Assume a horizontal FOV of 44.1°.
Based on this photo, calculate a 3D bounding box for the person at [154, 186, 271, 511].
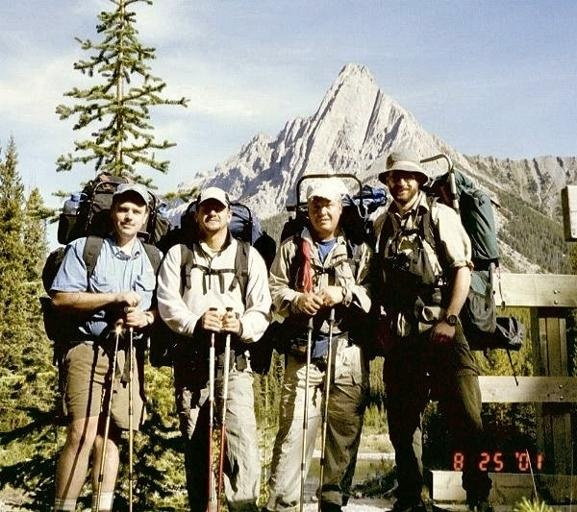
[{"bbox_3d":[-0.671,0.822,6.523,1.013,2.918,0.613,0,-6,-2],"label":"person"}]
